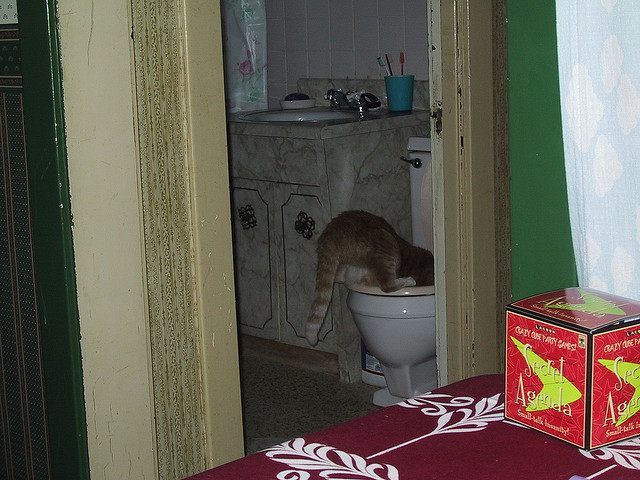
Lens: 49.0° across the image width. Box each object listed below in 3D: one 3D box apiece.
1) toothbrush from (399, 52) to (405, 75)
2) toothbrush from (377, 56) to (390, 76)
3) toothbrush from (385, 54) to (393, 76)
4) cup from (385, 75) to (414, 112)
[{"bbox_3d":[0.380,-0.823,3.269,0.024,0.101,0.109,-5,10,8],"label":"toothbrush"},{"bbox_3d":[0.294,-0.852,3.399,0.034,0.105,0.060,-25,8,-18],"label":"toothbrush"},{"bbox_3d":[0.318,-0.838,3.337,0.020,0.085,0.006,-7,1,18],"label":"toothbrush"},{"bbox_3d":[0.354,-0.663,3.149,0.148,0.171,0.143,-1,14,0],"label":"cup"}]
